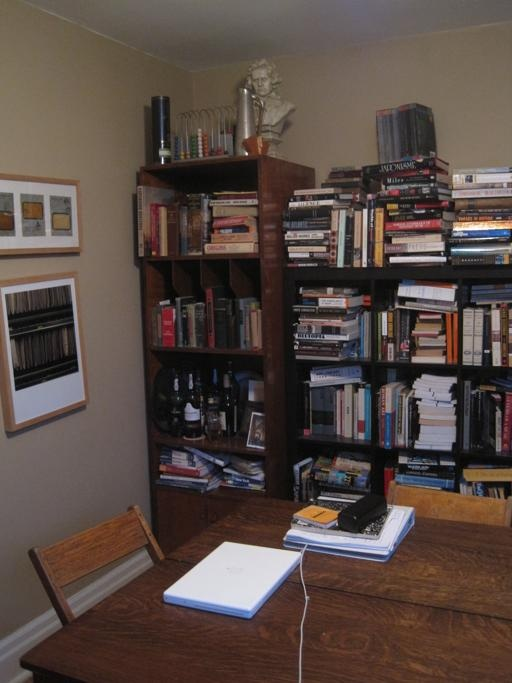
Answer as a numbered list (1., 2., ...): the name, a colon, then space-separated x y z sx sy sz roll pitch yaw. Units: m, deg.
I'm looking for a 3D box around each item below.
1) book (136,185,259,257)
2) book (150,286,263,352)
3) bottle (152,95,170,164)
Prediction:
1. book: -0.296 -0.553 2.652 0.654 0.342 0.239 2 7 40
2. book: -0.211 -0.105 2.734 0.580 0.277 0.191 1 6 28
3. bottle: -0.435 -0.972 2.702 0.087 0.292 0.086 1 18 0
